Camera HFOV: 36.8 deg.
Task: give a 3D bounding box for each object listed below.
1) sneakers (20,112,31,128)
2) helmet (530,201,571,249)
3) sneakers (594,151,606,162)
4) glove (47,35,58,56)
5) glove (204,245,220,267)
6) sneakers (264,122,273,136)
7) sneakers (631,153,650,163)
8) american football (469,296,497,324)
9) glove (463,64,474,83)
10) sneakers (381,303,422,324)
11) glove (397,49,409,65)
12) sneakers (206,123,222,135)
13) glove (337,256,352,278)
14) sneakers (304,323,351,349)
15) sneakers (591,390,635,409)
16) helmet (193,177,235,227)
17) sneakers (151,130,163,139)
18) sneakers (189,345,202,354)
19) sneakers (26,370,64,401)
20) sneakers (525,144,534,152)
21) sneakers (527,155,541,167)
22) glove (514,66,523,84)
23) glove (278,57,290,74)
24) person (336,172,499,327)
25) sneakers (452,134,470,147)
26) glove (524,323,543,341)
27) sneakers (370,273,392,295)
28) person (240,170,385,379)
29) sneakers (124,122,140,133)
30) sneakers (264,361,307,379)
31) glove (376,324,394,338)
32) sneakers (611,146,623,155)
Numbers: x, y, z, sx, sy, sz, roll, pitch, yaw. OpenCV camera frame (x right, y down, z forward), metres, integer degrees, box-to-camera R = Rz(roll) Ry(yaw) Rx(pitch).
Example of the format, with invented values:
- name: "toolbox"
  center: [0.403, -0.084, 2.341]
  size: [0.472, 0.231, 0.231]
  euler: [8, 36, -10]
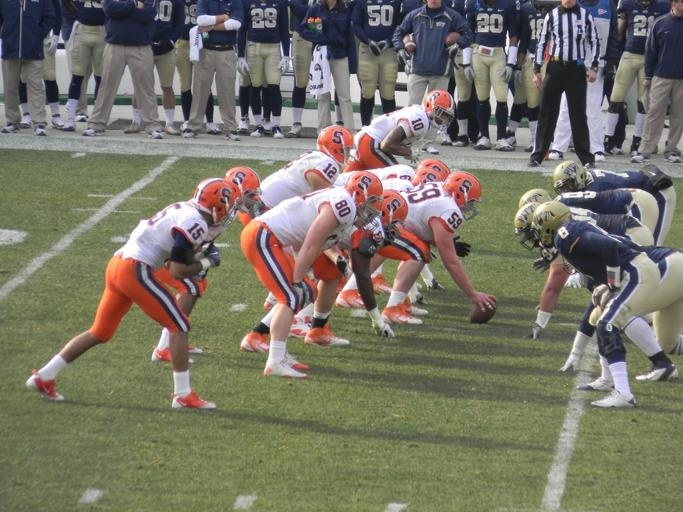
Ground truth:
- name: "sneakers"
  center: [-4.215, -1.767, 13.639]
  size: [0.101, 0.197, 0.283]
  euler: [-1, -1, -7]
- name: "helmet"
  center: [1.560, -0.209, 7.623]
  size: [0.344, 0.360, 0.301]
  euler: [-10, -5, 8]
- name: "sneakers"
  center: [3.215, -1.228, 12.826]
  size: [0.085, 0.104, 0.237]
  euler: [0, 0, 5]
- name: "glove"
  center: [-3.768, -2.741, 13.390]
  size: [0.138, 0.271, 0.205]
  euler: [13, 24, -18]
- name: "glove"
  center: [-0.929, 0.003, 7.385]
  size: [0.133, 0.051, 0.133]
  euler: [52, 37, 13]
- name: "sneakers"
  center: [-1.019, -1.755, 14.283]
  size: [0.106, 0.184, 0.094]
  euler: [-15, 4, -6]
- name: "sneakers"
  center: [3.714, -1.214, 12.818]
  size: [0.232, 0.104, 0.100]
  euler: [4, 3, -20]
- name: "american football"
  center: [1.149, 0.477, 8.362]
  size: [0.225, 0.137, 0.161]
  euler: [-44, 28, -20]
- name: "glove"
  center: [1.637, -2.349, 13.299]
  size: [0.126, 0.066, 0.169]
  euler: [29, -19, 37]
- name: "sneakers"
  center: [0.521, 0.488, 8.637]
  size: [0.390, 0.193, 0.135]
  euler: [2, 1, -5]
- name: "glove"
  center: [0.790, -2.499, 12.915]
  size: [0.088, 0.183, 0.123]
  euler: [-25, 10, -40]
- name: "sneakers"
  center: [-1.734, -1.764, 14.276]
  size: [0.118, 0.105, 0.249]
  euler: [5, 10, 23]
- name: "glove"
  center: [-0.001, 0.115, 8.186]
  size: [0.066, 0.177, 0.112]
  euler: [-12, 17, 35]
- name: "sneakers"
  center: [-0.141, 0.637, 8.164]
  size: [0.424, 0.207, 0.148]
  euler: [2, 4, -4]
- name: "sneakers"
  center: [1.926, 1.021, 7.320]
  size: [0.347, 0.150, 0.123]
  euler: [2, -8, 4]
- name: "helmet"
  center: [-0.906, -0.399, 7.257]
  size: [0.318, 0.294, 0.242]
  euler: [-18, 26, -30]
- name: "sneakers"
  center: [-2.384, -1.564, 13.345]
  size: [0.051, 0.084, 0.132]
  euler: [-8, -4, 40]
- name: "sneakers"
  center: [-1.110, 0.710, 7.868]
  size: [0.108, 0.052, 0.044]
  euler: [12, 8, 6]
- name: "sneakers"
  center: [-2.035, 0.888, 7.086]
  size: [0.230, 0.201, 0.140]
  euler: [-3, 10, -34]
- name: "sneakers"
  center: [2.490, -1.419, 13.660]
  size: [0.057, 0.071, 0.175]
  euler: [1, 9, -8]
- name: "sneakers"
  center: [2.339, -1.137, 12.483]
  size: [0.072, 0.099, 0.215]
  euler: [7, -5, 4]
- name: "glove"
  center: [2.257, -2.321, 13.116]
  size: [0.109, 0.192, 0.402]
  euler: [5, 9, 9]
- name: "glove"
  center: [-0.731, -2.480, 13.445]
  size: [0.090, 0.179, 0.133]
  euler: [11, 5, -38]
- name: "person"
  center: [0.759, -0.111, 8.832]
  size: [1.026, 1.213, 1.450]
  euler: [3, 16, 1]
- name: "sneakers"
  center: [1.641, -1.554, 14.025]
  size: [0.280, 0.121, 0.101]
  euler: [-4, 9, -42]
- name: "glove"
  center: [1.543, 0.618, 8.266]
  size: [0.053, 0.137, 0.036]
  euler: [17, 17, -38]
- name: "sneakers"
  center: [0.385, 0.257, 9.168]
  size: [0.259, 0.124, 0.089]
  euler: [22, 10, 36]
- name: "person"
  center: [-0.224, 0.062, 8.000]
  size: [1.077, 1.568, 1.074]
  euler: [2, 6, -7]
- name: "sneakers"
  center: [-2.825, -1.720, 13.840]
  size: [0.121, 0.107, 0.231]
  euler: [-5, 10, -32]
- name: "sneakers"
  center: [-0.422, 0.844, 7.618]
  size: [0.353, 0.156, 0.121]
  euler: [1, 2, -6]
- name: "glove"
  center: [0.347, 0.605, 8.269]
  size: [0.188, 0.073, 0.086]
  euler: [19, 12, 8]
- name: "sneakers"
  center: [3.626, -1.375, 13.558]
  size: [0.189, 0.084, 0.074]
  euler: [-7, 12, -35]
